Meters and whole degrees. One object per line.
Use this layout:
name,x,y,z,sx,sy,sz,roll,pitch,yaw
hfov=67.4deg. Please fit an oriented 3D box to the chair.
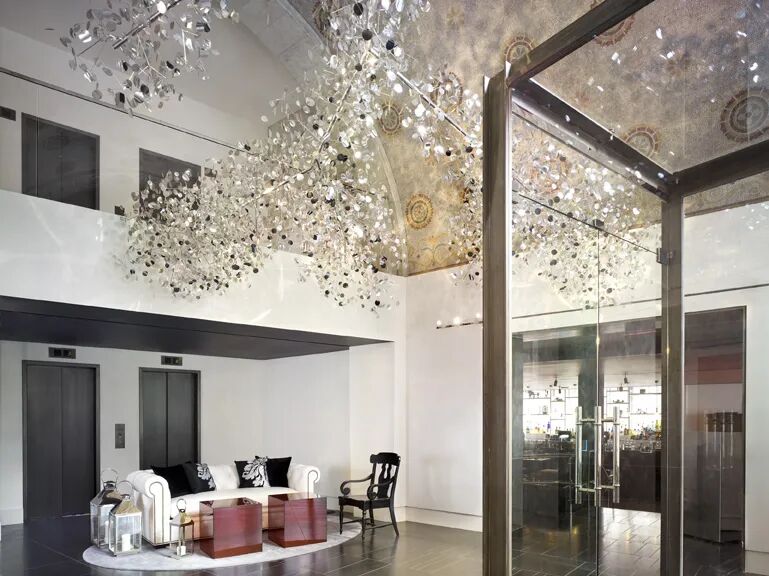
chair,-0.203,2.870,7.990,0.777,1.125,0.779,-5,-14,28
